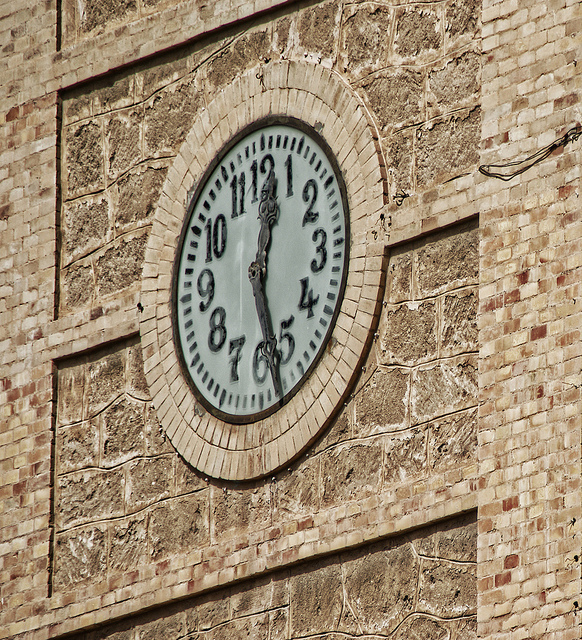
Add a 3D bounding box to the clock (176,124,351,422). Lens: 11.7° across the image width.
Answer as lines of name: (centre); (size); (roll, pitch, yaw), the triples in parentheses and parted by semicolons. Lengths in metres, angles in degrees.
clock: (-0.187, -0.285, 20.061); (0.099, 1.491, 2.214); (17, -111, -40)
